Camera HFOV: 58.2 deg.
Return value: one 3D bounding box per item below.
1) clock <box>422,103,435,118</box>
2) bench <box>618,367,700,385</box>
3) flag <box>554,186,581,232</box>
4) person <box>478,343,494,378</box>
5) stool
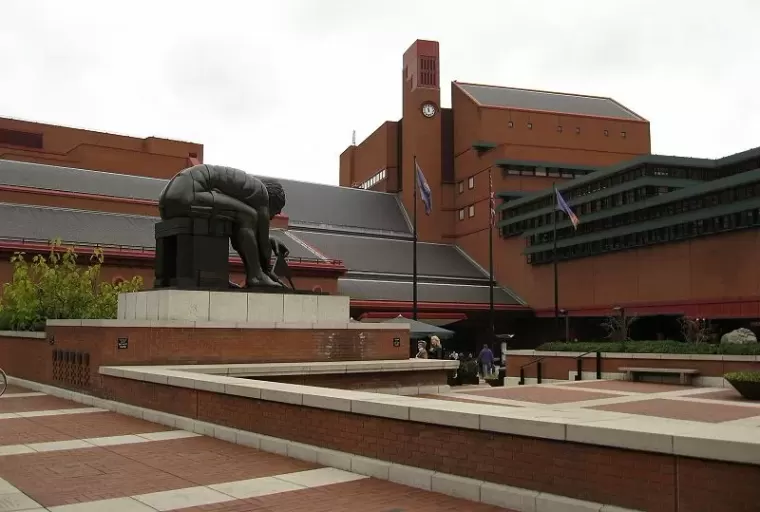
[{"bbox_3d":[4.840,-14.405,67.815,1.440,1.449,0.228,1,-4,-11],"label":"clock"},{"bbox_3d":[10.494,4.419,25.464,0.909,0.567,2.550,2,-5,-39],"label":"bench"},{"bbox_3d":[13.528,-3.267,48.950,1.504,0.798,5.957,-29,-34,12],"label":"flag"},{"bbox_3d":[5.152,5.119,32.679,0.605,1.488,1.781,-1,-3,10],"label":"person"},{"bbox_3d":[-5.994,-0.096,21.988,2.358,2.359,1.261,0,-3,-13],"label":"stool"}]
